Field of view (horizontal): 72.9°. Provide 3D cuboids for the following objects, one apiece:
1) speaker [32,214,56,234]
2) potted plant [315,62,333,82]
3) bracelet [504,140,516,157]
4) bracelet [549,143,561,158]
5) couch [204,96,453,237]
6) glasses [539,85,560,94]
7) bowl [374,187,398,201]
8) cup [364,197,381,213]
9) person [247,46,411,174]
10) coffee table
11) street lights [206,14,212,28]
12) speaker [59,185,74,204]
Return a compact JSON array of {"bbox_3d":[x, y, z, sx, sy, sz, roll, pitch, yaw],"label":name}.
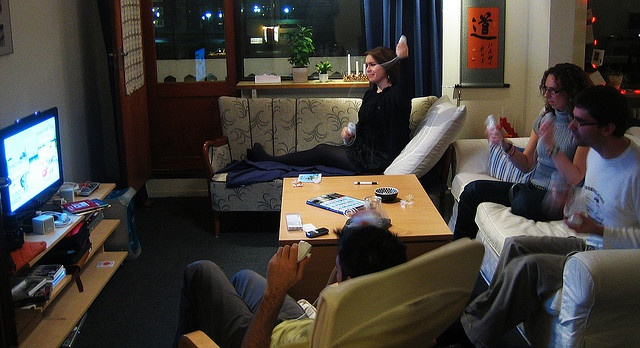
[{"bbox_3d":[-2.118,0.373,3.381,0.131,0.164,0.176,2,5,20],"label":"speaker"},{"bbox_3d":[0.063,-1.274,5.431,0.295,0.275,0.273,1,11,7],"label":"potted plant"},{"bbox_3d":[1.643,-0.228,3.747,0.110,0.045,0.117,0,54,1],"label":"bracelet"},{"bbox_3d":[1.794,-0.189,3.337,0.084,0.082,0.083,-35,22,-10],"label":"bracelet"},{"bbox_3d":[0.035,-0.089,4.890,2.551,1.348,0.858,1,24,8],"label":"couch"},{"bbox_3d":[1.949,-0.704,3.608,0.103,0.029,0.095,4,2,-27],"label":"glasses"},{"bbox_3d":[0.565,0.162,3.615,0.136,0.051,0.129,1,12,0],"label":"bowl"},{"bbox_3d":[0.397,0.233,3.220,0.099,0.101,0.099,-1,3,0],"label":"cup"},{"bbox_3d":[0.076,-0.717,4.758,1.830,1.450,1.122,2,-2,11],"label":"person"},{"bbox_3d":[0.391,0.301,3.596,1.084,0.602,1.026,-1,18,-1],"label":"coffee table"},{"bbox_3d":[-1.439,-2.004,5.569,0.083,0.132,0.021,1,15,8],"label":"street lights"},{"bbox_3d":[-2.209,0.181,3.766,0.074,0.084,0.130,-15,18,-8],"label":"speaker"}]
